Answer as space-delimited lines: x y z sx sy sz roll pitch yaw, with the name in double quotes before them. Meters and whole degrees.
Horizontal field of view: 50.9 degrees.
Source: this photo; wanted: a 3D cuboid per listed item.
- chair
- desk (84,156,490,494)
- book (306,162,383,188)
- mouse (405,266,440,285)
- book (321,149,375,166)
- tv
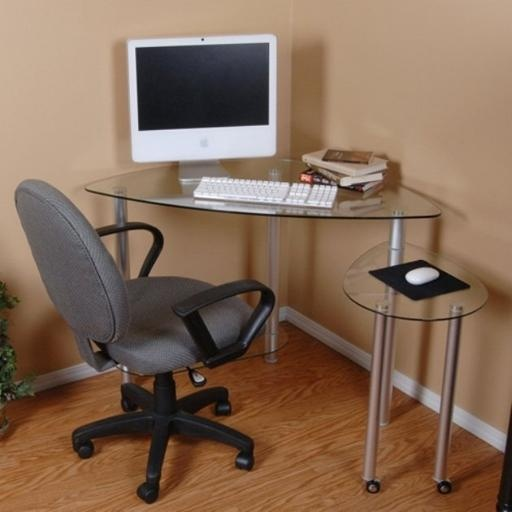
"chair" -0.310 0.212 1.659 0.717 0.840 0.670 12 17 32
"desk" 0.127 0.177 2.102 1.619 0.741 0.785 18 24 42
"book" 0.301 -0.278 1.881 0.134 0.024 0.130 -16 27 -34
"mouse" 0.476 0.054 1.565 0.123 0.030 0.075 -14 23 -32
"book" 0.327 -0.355 1.919 0.110 0.019 0.104 12 23 29
"tv" -0.194 -0.552 1.928 0.638 0.507 0.201 -4 20 -11
